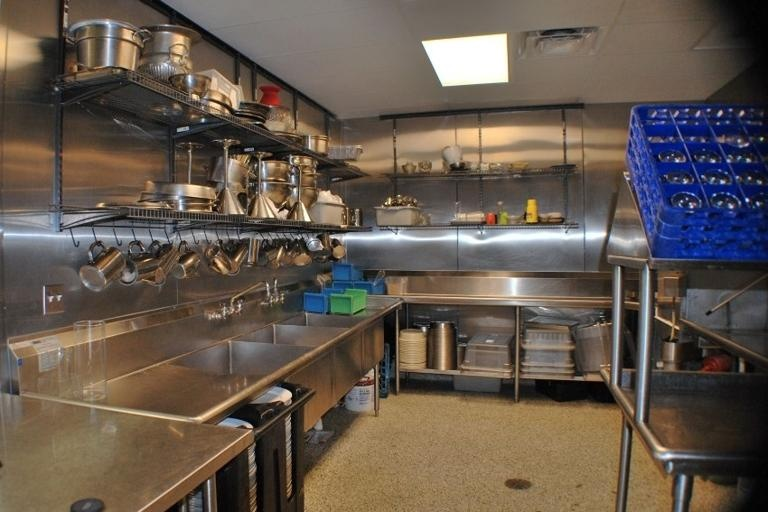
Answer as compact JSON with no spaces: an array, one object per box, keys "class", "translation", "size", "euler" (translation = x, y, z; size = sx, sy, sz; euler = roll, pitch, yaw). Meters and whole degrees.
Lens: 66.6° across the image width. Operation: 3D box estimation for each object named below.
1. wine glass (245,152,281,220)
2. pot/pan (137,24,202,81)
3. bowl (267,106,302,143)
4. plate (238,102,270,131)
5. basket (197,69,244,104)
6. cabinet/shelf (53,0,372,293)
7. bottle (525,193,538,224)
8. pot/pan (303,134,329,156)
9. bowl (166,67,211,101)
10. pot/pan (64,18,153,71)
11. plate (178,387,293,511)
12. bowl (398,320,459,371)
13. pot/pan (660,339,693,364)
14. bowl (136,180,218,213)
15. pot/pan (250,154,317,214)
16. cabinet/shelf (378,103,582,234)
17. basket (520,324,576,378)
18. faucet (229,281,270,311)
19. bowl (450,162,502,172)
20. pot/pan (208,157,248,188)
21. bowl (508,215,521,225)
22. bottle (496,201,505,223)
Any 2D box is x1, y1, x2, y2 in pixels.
[{"class":"wine glass","translation":[-0.768,-0.416,3.524],"size":[0.220,0.343,0.237],"euler":[24,18,38]},{"class":"pot/pan","translation":[-1.138,-1.023,2.970],"size":[0.335,0.201,0.298],"euler":[3,21,2]},{"class":"bowl","translation":[-0.687,-0.838,3.678],"size":[0.251,0.154,0.233],"euler":[5,-4,0]},{"class":"plate","translation":[-0.738,-0.779,3.300],"size":[0.174,0.072,0.162],"euler":[7,6,15]},{"class":"basket","translation":[-0.877,-0.946,3.198],"size":[0.214,0.089,0.303],"euler":[2,-4,25]},{"class":"cabinet/shelf","translation":[-1.021,-0.555,3.420],"size":[0.695,1.566,1.812],"euler":[3,10,20]},{"class":"bottle","translation":[1.291,-0.396,5.144],"size":[0.119,0.204,0.156],"euler":[2,10,13]},{"class":"pot/pan","translation":[-0.480,-0.782,4.071],"size":[0.172,0.105,0.157],"euler":[0,-1,-5]},{"class":"bowl","translation":[-0.953,-0.839,2.901],"size":[0.174,0.066,0.160],"euler":[-1,0,0]},{"class":"pot/pan","translation":[-1.296,-0.955,2.723],"size":[0.382,0.196,0.313],"euler":[-3,12,-30]},{"class":"plate","translation":[-0.759,0.875,2.698],"size":[0.493,0.603,0.420],"euler":[4,4,36]},{"class":"bowl","translation":[0.391,0.831,5.233],"size":[0.590,0.379,0.328],"euler":[0,-2,11]},{"class":"pot/pan","translation":[1.641,0.519,3.345],"size":[0.197,0.164,0.253],"euler":[-3,-7,29]},{"class":"bowl","translation":[-1.019,-0.291,2.876],"size":[0.349,0.149,0.139],"euler":[-4,10,-20]},{"class":"pot/pan","translation":[-0.628,-0.504,3.883],"size":[0.314,0.272,0.483],"euler":[-1,-3,16]},{"class":"cabinet/shelf","translation":[0.878,-0.864,5.396],"size":[1.779,1.004,0.460],"euler":[2,11,14]},{"class":"basket","translation":[1.383,0.792,4.968],"size":[0.476,0.366,0.447],"euler":[-1,-4,21]},{"class":"faucet","translation":[-0.878,0.247,3.991],"size":[0.075,0.140,0.409],"euler":[6,24,15]},{"class":"bowl","translation":[0.871,-0.813,5.331],"size":[0.474,0.094,0.502],"euler":[0,8,0]},{"class":"pot/pan","translation":[-0.897,-0.480,3.372],"size":[0.197,0.121,0.198],"euler":[13,-12,-18]},{"class":"bowl","translation":[1.164,-0.333,5.258],"size":[0.124,0.071,0.067],"euler":[1,-4,-3]},{"class":"bottle","translation":[1.066,-0.412,5.408],"size":[0.090,0.200,0.322],"euler":[1,9,9]}]
